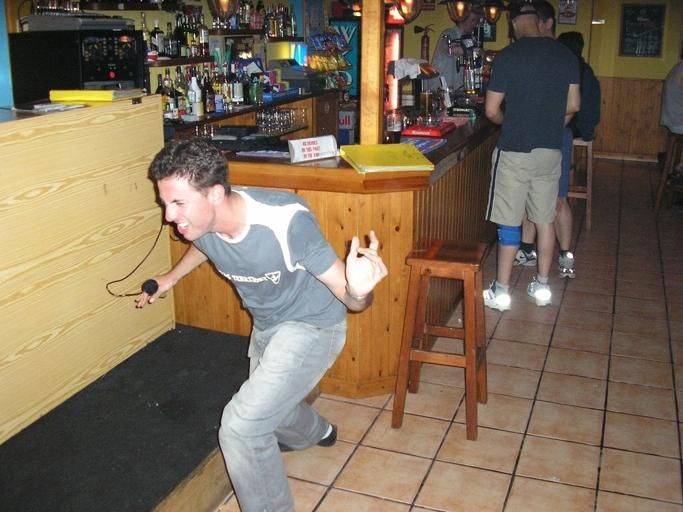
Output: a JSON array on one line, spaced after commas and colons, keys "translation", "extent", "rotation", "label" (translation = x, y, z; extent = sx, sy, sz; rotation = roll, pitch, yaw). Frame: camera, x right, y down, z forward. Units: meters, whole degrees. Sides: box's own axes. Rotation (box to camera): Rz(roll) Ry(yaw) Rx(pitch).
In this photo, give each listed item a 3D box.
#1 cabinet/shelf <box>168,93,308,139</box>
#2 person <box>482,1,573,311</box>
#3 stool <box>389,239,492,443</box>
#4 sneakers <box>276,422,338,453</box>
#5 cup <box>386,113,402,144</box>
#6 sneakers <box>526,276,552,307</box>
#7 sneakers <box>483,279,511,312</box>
[{"translation": [-0.934, -1.459, 6.072], "extent": [0.611, 0.432, 2.480], "rotation": [7, 24, 18], "label": "cabinet/shelf"}, {"translation": [1.421, -0.570, 4.112], "extent": [0.676, 1.983, 0.478], "rotation": [0, 22, 3], "label": "person"}, {"translation": [0.624, 0.403, 3.175], "extent": [0.513, 0.935, 0.823], "rotation": [5, 23, 15], "label": "stool"}, {"translation": [-0.163, 0.946, 2.923], "extent": [0.336, 0.133, 0.121], "rotation": [-1, 7, -20], "label": "sneakers"}, {"translation": [0.374, -0.912, 3.871], "extent": [0.115, 0.203, 0.315], "rotation": [1, 23, 4], "label": "cup"}, {"translation": [1.601, 0.290, 4.405], "extent": [0.120, 0.133, 0.290], "rotation": [-2, 20, 10], "label": "sneakers"}, {"translation": [1.222, 0.315, 4.269], "extent": [0.170, 0.224, 0.349], "rotation": [-6, 22, -6], "label": "sneakers"}]
